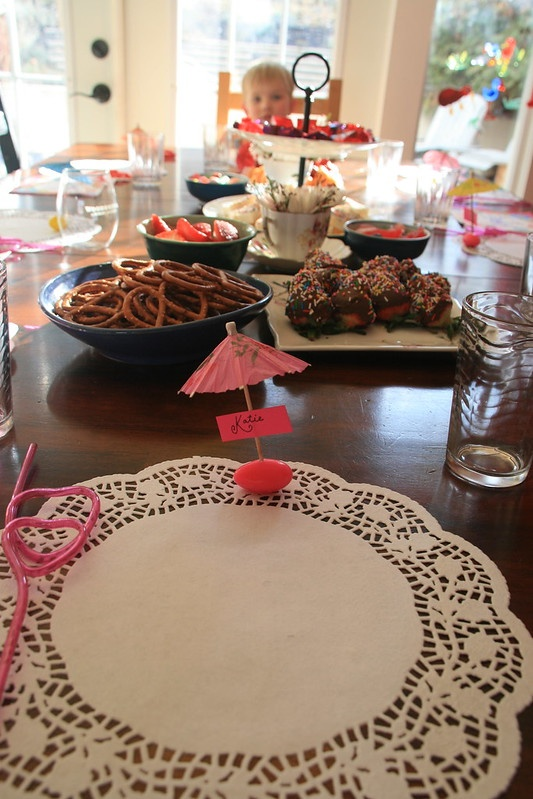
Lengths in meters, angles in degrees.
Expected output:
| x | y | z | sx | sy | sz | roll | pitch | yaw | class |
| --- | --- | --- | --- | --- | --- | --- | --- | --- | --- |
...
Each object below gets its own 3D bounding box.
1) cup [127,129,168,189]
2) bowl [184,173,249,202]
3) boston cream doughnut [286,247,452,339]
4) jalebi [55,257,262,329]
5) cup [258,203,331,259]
| x | y | z | sx | sy | sz | roll | pitch | yaw | class |
| --- | --- | --- | --- | --- | --- | --- | --- | --- | --- |
| -0.331 | -0.666 | 1.876 | 0.095 | 0.141 | 0.191 | 0 | 24 | -10 | cup |
| -0.116 | -0.504 | 1.623 | 0.108 | 0.041 | 0.102 | 1 | 17 | 0 | bowl |
| 0.125 | -0.158 | 0.901 | 0.238 | 0.100 | 0.150 | 1 | 22 | -3 | boston cream doughnut |
| -0.122 | -0.107 | 0.714 | 0.133 | 0.024 | 0.124 | 0 | 16 | 4 | jalebi |
| 0.028 | -0.281 | 1.153 | 0.129 | 0.093 | 0.108 | -17 | 37 | -27 | cup |
